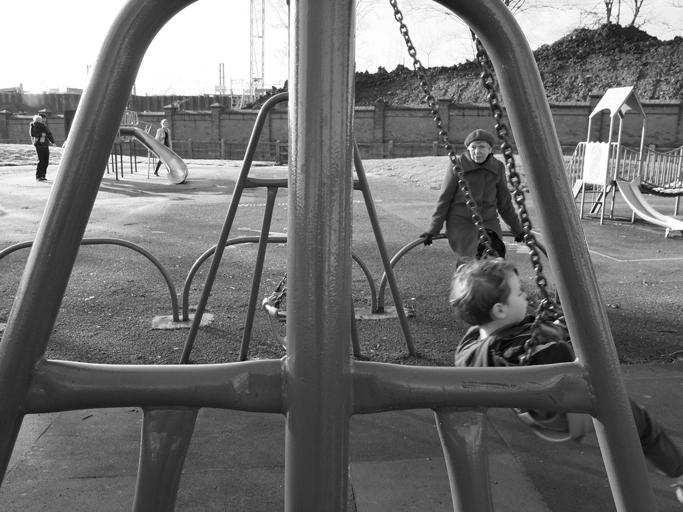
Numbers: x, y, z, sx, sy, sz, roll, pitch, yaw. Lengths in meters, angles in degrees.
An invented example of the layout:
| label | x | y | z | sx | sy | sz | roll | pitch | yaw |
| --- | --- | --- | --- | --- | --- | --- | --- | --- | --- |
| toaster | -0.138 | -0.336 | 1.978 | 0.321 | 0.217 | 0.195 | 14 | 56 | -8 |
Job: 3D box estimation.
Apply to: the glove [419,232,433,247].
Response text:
| label | x | y | z | sx | sy | sz | roll | pitch | yaw |
| --- | --- | --- | --- | --- | --- | --- | --- | --- | --- |
| glove | 0.686 | -0.138 | 4.690 | 0.089 | 0.120 | 0.037 | -1 | -16 | -10 |

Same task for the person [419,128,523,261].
| label | x | y | z | sx | sy | sz | roll | pitch | yaw |
| --- | --- | --- | --- | --- | --- | --- | --- | --- | --- |
| person | 1.090 | -0.299 | 4.874 | 0.863 | 1.407 | 0.423 | 0 | -22 | 9 |

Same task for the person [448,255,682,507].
| label | x | y | z | sx | sy | sz | roll | pitch | yaw |
| --- | --- | --- | --- | --- | --- | --- | --- | --- | --- |
| person | 0.803 | 0.465 | 2.112 | 0.760 | 0.909 | 0.407 | -17 | 21 | 6 |

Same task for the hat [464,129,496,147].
| label | x | y | z | sx | sy | sz | roll | pitch | yaw |
| --- | --- | --- | --- | --- | --- | --- | --- | --- | --- |
| hat | 1.134 | -0.966 | 4.896 | 0.218 | 0.093 | 0.273 | 3 | 23 | 8 |
